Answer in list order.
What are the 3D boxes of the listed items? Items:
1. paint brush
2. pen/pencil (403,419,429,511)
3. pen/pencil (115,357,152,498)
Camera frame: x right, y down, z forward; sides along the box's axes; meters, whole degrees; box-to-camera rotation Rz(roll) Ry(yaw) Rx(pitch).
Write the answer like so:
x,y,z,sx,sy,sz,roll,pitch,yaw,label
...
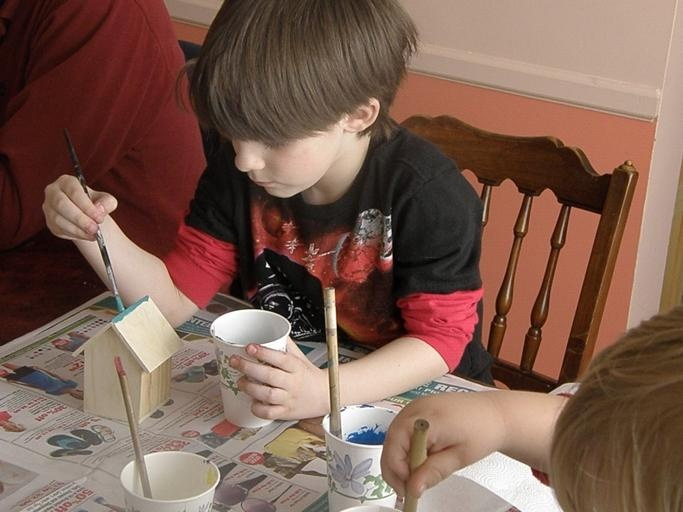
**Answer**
x,y,z,sx,sy,sz,roll,pitch,yaw,label
-0.590,-0.092,1.278,0.045,0.040,0.615,-23,63,-8,paint brush
0.072,0.240,0.613,0.022,0.137,0.024,-17,40,-28,pen/pencil
-0.295,0.242,0.765,0.017,0.200,0.015,2,20,43,pen/pencil
